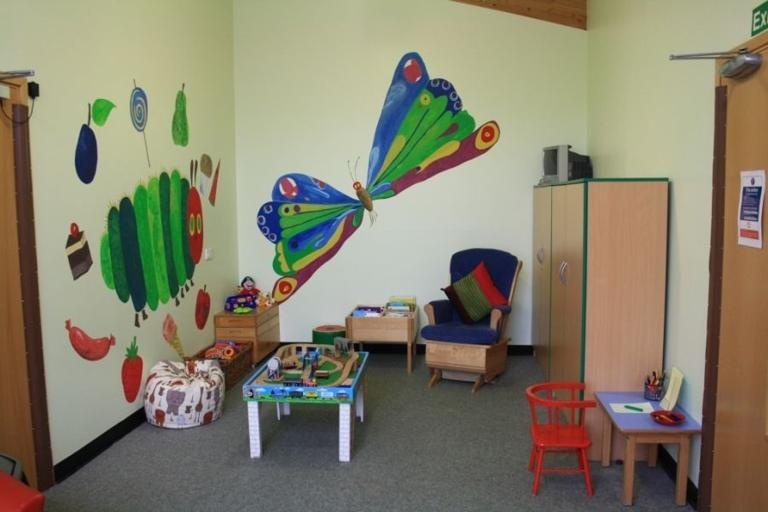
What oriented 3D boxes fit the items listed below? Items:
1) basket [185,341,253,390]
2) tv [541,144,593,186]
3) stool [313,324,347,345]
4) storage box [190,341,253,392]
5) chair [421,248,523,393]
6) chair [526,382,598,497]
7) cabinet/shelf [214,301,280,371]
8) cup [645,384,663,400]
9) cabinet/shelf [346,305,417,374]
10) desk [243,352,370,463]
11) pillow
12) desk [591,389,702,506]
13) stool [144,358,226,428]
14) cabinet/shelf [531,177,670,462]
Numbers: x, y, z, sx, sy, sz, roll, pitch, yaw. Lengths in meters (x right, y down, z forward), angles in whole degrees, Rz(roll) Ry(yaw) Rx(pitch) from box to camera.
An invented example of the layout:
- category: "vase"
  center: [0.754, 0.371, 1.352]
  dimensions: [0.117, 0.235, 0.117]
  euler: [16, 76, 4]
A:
- category: "basket"
  center: [-1.667, 1.144, 6.039]
  dimensions: [0.339, 0.253, 0.590]
  euler: [-2, 1, 3]
- category: "tv"
  center: [2.030, -0.960, 6.216]
  dimensions: [0.554, 0.453, 0.552]
  euler: [-3, 5, -16]
- category: "stool"
  center: [-0.636, 0.906, 6.653]
  dimensions: [0.297, 0.213, 0.310]
  euler: [3, 4, 19]
- category: "storage box"
  center: [-1.664, 1.141, 6.026]
  dimensions: [0.323, 0.246, 0.580]
  euler: [-2, 2, 3]
- category: "chair"
  center: [0.937, 0.669, 6.187]
  dimensions: [0.894, 1.267, 1.172]
  euler: [6, 16, 23]
- category: "chair"
  center: [1.425, 1.347, 4.691]
  dimensions: [0.688, 1.039, 0.803]
  euler: [-2, 4, 11]
- category: "cabinet/shelf"
  center: [-1.614, 0.824, 6.644]
  dimensions: [0.499, 0.638, 0.917]
  euler: [0, 5, 5]
- category: "cup"
  center: [2.120, 1.078, 4.427]
  dimensions: [0.115, 0.092, 0.120]
  euler: [1, 1, 0]
- category: "cabinet/shelf"
  center: [-0.054, 1.027, 6.632]
  dimensions: [0.749, 0.633, 0.615]
  euler: [0, -9, 5]
- category: "desk"
  center: [-0.674, 1.226, 4.975]
  dimensions: [0.957, 0.731, 0.864]
  euler: [1, 15, 4]
- category: "pillow"
  center: [0.985, 0.396, 6.149]
  dimensions: [0.586, 0.626, 0.181]
  euler: [-38, -28, 15]
- category: "desk"
  center: [1.997, 1.451, 4.341]
  dimensions: [0.606, 0.617, 0.634]
  euler: [-1, 15, -1]
- category: "stool"
  center: [-1.863, 1.267, 5.343]
  dimensions: [0.567, 0.378, 0.588]
  euler: [3, 0, -2]
- category: "cabinet/shelf"
  center: [2.000, 0.326, 5.614]
  dimensions: [0.662, 2.073, 2.168]
  euler: [-1, 5, 3]
